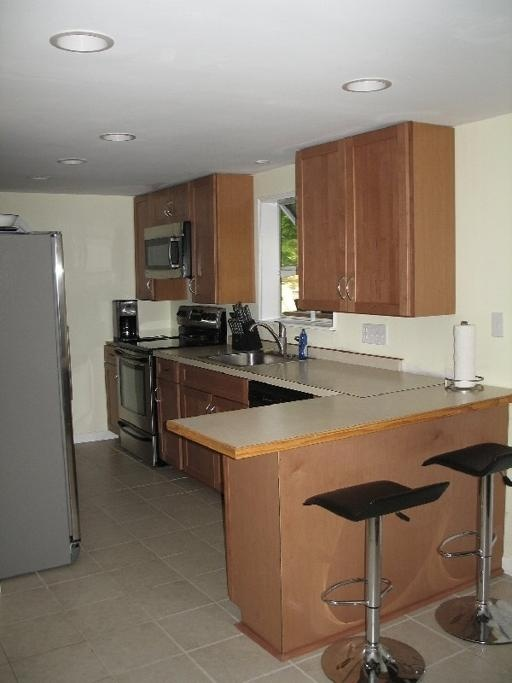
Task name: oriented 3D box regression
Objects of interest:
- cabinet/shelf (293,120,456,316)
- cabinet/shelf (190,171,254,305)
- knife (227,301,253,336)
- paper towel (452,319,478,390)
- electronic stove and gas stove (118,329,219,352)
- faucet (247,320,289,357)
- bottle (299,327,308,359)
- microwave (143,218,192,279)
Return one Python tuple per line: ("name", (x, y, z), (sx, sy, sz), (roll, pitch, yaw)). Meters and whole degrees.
("cabinet/shelf", (0.589, -0.590, 3.029), (0.315, 0.856, 0.881), (-9, 11, -30))
("cabinet/shelf", (-0.250, -0.722, 4.218), (0.513, 0.899, 0.301), (-2, 5, 6))
("knife", (-0.102, -0.152, 4.080), (0.144, 0.236, 0.058), (0, -1, 19))
("paper towel", (0.940, 0.044, 2.646), (0.088, 0.271, 0.086), (-4, 6, -7))
("electronic stove and gas stove", (-0.684, 0.002, 4.783), (0.727, 0.097, 0.940), (-4, 5, -24))
("faucet", (0.084, -0.031, 4.035), (0.243, 0.226, 0.547), (-3, 5, 0))
("bottle", (0.303, 0.013, 3.770), (0.065, 0.187, 0.207), (-2, 5, 5))
("microwave", (-0.603, -0.706, 4.736), (0.372, 0.422, 0.711), (-5, 6, -35))
